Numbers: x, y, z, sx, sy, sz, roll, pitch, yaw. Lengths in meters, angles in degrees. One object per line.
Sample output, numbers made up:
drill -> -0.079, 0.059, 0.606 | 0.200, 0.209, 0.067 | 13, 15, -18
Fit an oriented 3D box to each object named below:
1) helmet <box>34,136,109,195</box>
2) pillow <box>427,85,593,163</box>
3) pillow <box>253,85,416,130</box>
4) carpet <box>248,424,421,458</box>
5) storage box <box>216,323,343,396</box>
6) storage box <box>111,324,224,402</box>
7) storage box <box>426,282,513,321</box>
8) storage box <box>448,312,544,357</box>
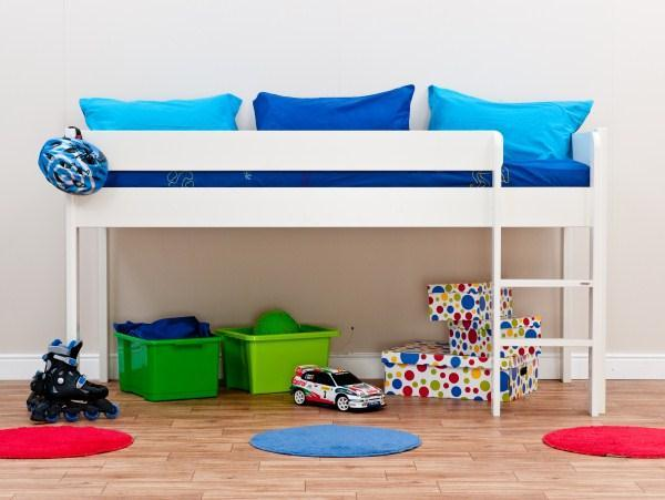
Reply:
helmet -> -1.166, -0.378, 3.411 | 0.296, 0.247, 0.108 | -2, 8, -19
pillow -> 0.970, -0.638, 4.192 | 0.869, 0.492, 0.280 | 4, 7, 1
pillow -> 0.005, -0.773, 4.106 | 0.875, 0.241, 0.269 | 0, 7, -3
carpet -> 0.010, 0.795, 3.167 | 0.712, 0.018, 0.383 | 0, 7, 2
storage box -> -0.322, 0.598, 4.118 | 0.585, 0.303, 0.458 | 2, -2, -39
storage box -> -0.900, 0.624, 4.031 | 0.422, 0.294, 0.610 | 2, -6, -34
storage box -> 0.724, 0.240, 4.024 | 0.413, 0.200, 0.317 | -3, 14, 19
storage box -> 0.833, 0.438, 3.901 | 0.294, 0.134, 0.292 | 0, -2, -11
